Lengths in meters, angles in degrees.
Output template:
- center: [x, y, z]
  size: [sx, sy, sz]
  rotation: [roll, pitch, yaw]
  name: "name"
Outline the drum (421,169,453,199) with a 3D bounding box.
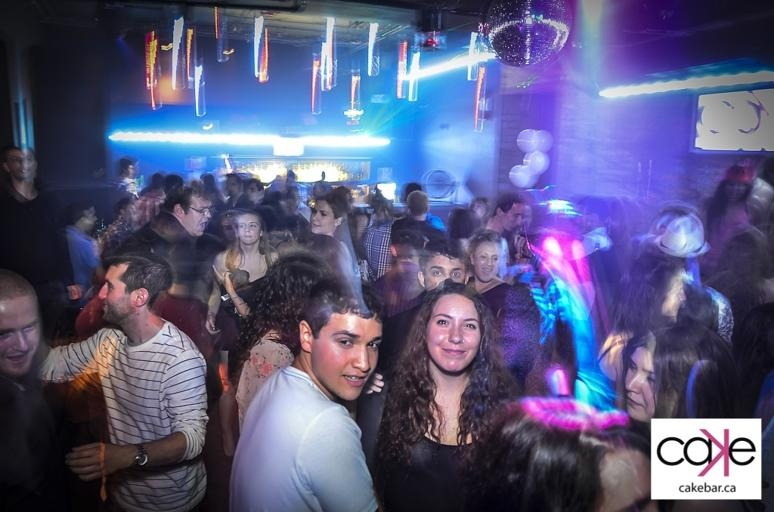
- center: [1.094, -1.534, 11.793]
  size: [0.616, 0.410, 0.617]
  rotation: [0, 12, 0]
  name: "drum"
